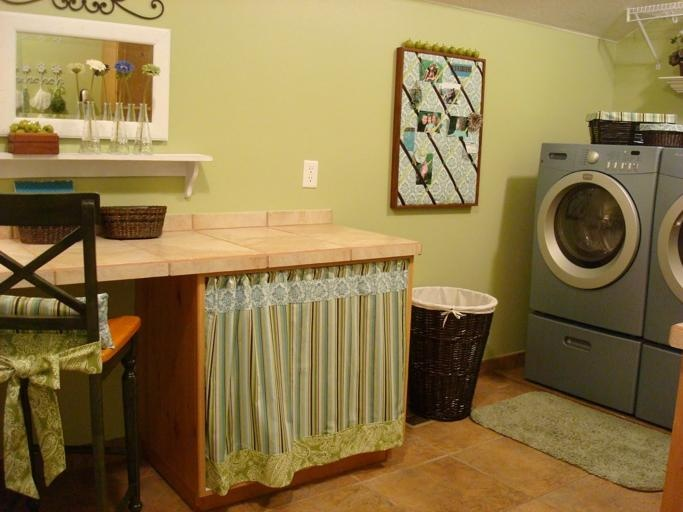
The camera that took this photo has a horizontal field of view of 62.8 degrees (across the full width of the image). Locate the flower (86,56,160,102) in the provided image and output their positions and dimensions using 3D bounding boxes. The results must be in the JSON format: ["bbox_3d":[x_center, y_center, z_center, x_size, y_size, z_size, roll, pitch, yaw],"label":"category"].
[{"bbox_3d":[-0.939,-0.727,2.401,0.213,0.144,0.086,6,23,-26],"label":"flower"}]

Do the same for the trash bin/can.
[{"bbox_3d":[0.582,0.593,3.151,0.511,0.616,0.529,5,2,32],"label":"trash bin/can"}]

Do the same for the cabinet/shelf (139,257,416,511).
[{"bbox_3d":[-0.286,0.301,2.731,1.199,1.258,0.963,-5,9,-32],"label":"cabinet/shelf"}]

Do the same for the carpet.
[{"bbox_3d":[1.259,0.925,2.994,0.937,0.037,0.702,14,18,42],"label":"carpet"}]

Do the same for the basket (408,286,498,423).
[{"bbox_3d":[0.470,0.526,3.233,0.583,0.729,0.657,2,4,0],"label":"basket"}]

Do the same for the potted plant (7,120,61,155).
[{"bbox_3d":[-1.242,-0.480,2.253,0.192,0.136,0.186,-6,15,-31],"label":"potted plant"}]

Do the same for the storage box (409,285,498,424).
[{"bbox_3d":[0.519,0.523,3.236,0.590,0.732,0.654,2,4,0],"label":"storage box"}]

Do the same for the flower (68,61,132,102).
[{"bbox_3d":[-1.040,-0.748,2.371,0.167,0.154,0.072,-1,16,-22],"label":"flower"}]
